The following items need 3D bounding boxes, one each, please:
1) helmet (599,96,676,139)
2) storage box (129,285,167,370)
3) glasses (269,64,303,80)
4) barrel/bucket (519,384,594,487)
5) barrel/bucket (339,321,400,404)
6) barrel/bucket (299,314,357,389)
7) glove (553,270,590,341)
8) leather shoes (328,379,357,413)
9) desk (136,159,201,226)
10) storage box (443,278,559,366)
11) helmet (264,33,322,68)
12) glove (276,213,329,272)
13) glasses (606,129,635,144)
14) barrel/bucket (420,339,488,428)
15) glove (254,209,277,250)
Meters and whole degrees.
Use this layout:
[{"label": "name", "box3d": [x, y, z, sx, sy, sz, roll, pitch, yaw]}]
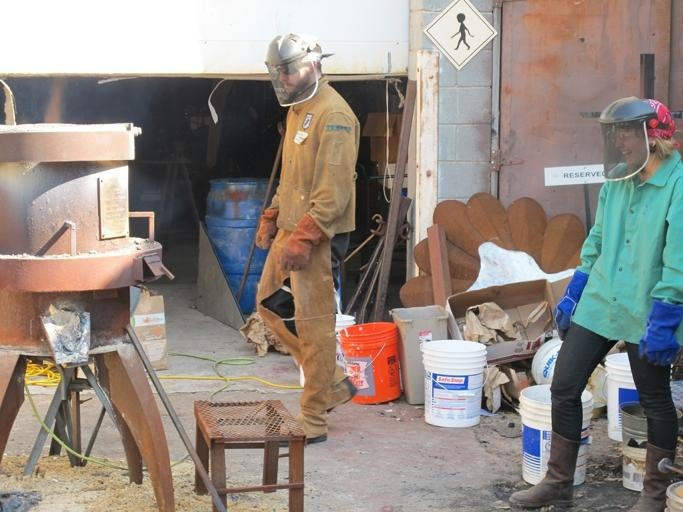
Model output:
[{"label": "helmet", "box3d": [1.568, -0.756, 4.632, 0.286, 0.184, 0.259, -2, 13, -9]}, {"label": "storage box", "box3d": [-1.488, 0.581, 6.922, 0.211, 0.628, 0.379, -2, 10, -3]}, {"label": "glasses", "box3d": [-0.350, -1.162, 5.485, 0.115, 0.046, 0.118, -5, -2, 25]}, {"label": "barrel/bucket", "box3d": [1.212, 1.038, 5.257, 0.493, 0.557, 0.526, -1, 5, 0]}, {"label": "barrel/bucket", "box3d": [0.249, 0.772, 6.515, 0.539, 0.536, 0.515, -8, 1, 0]}, {"label": "barrel/bucket", "box3d": [-0.064, 0.715, 6.682, 0.495, 0.491, 0.505, 0, 2, 0]}, {"label": "glove", "box3d": [1.339, 0.285, 5.063, 0.082, 0.345, 0.197, 22, 4, -33]}, {"label": "leather shoes", "box3d": [0.009, 0.906, 5.798, 0.239, 0.117, 0.141, -38, 8, -33]}, {"label": "desk", "box3d": [-2.460, -0.887, 13.498, 0.962, 1.335, 1.057, 1, 1, -30]}, {"label": "storage box", "box3d": [1.297, 0.466, 6.574, 0.679, 0.657, 0.201, -8, -12, -14]}, {"label": "helmet", "box3d": [-0.289, -1.301, 5.517, 0.338, 0.207, 0.201, -3, 10, -6]}, {"label": "glove", "box3d": [-0.239, -0.068, 5.452, 0.105, 0.348, 0.258, 38, -3, 0]}, {"label": "glasses", "box3d": [1.464, -0.636, 4.618, 0.090, 0.062, 0.091, 1, 7, 9]}, {"label": "barrel/bucket", "box3d": [0.671, 0.891, 6.126, 0.510, 0.573, 0.516, -1, 5, 0]}, {"label": "glove", "box3d": [-0.502, -0.186, 6.010, 0.146, 0.270, 0.098, 19, -36, 6]}]
